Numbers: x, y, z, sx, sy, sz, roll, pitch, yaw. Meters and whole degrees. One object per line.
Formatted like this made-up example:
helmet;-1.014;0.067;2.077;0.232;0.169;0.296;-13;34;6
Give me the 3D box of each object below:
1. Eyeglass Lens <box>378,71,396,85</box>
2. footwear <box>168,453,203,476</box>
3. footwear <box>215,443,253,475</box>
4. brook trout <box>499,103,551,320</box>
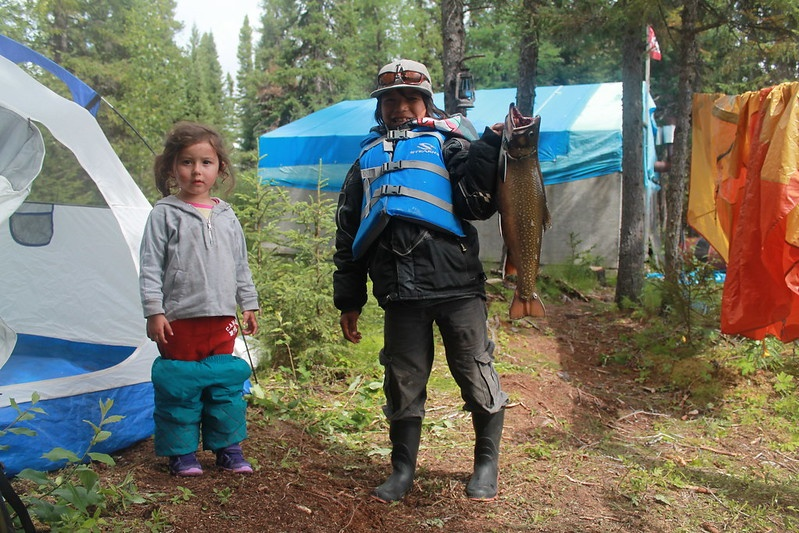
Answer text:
Eyeglass Lens;-0.087;-1.355;4.727;0.089;0.074;0.095;-2;23;-10
footwear;-1.550;1.430;4.752;0.294;0.125;0.113;-8;-9;43
footwear;-1.225;1.419;4.845;0.359;0.150;0.131;1;-3;37
brook trout;0.865;-0.367;4.583;0.365;1.474;0.191;3;10;9
